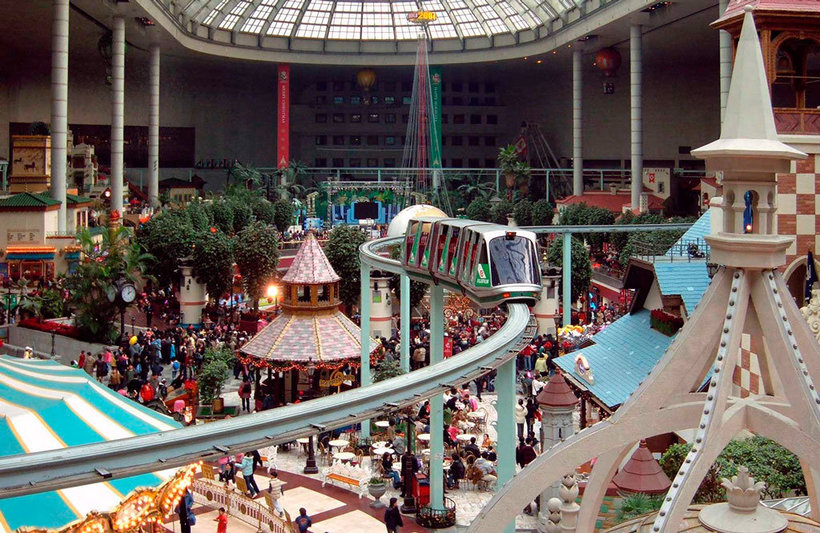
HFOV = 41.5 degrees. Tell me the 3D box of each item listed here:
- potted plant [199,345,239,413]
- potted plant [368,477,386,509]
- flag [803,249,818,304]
[{"bbox_3d":[-7.122,3.982,39.862,1.099,2.618,1.080,5,6,-37],"label":"potted plant"},{"bbox_3d":[-0.991,7.058,34.077,0.757,1.037,0.783,0,-6,-1],"label":"potted plant"},{"bbox_3d":[10.845,0.233,29.042,0.353,1.318,2.929,1,4,20],"label":"flag"}]
